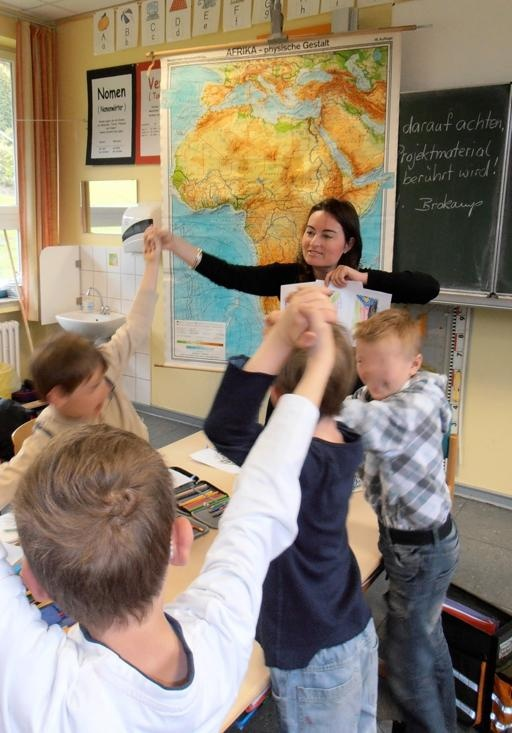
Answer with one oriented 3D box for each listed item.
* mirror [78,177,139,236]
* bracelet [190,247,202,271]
[{"bbox_3d":[-1.239,-1.382,4.552,0.632,0.494,0.029,7,11,25],"label":"mirror"},{"bbox_3d":[-0.242,-0.448,2.208,0.029,0.074,0.068,12,-15,-13],"label":"bracelet"}]
